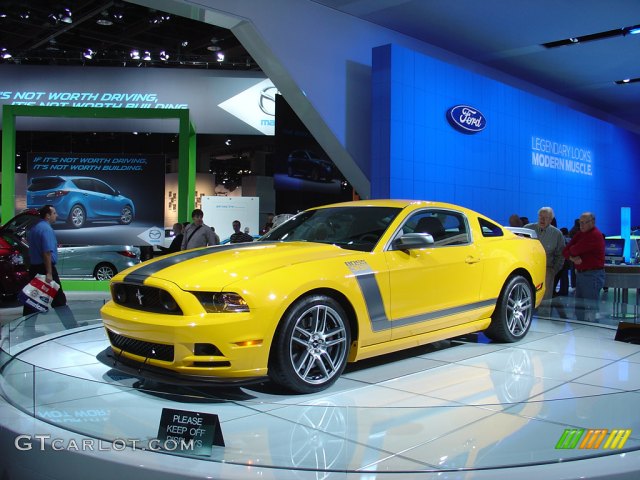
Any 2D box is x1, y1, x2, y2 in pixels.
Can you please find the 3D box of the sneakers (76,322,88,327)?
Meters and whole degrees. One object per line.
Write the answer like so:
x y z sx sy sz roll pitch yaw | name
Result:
-2.967 1.062 5.382 0.050 0.069 0.147 0 -3 5 | sneakers

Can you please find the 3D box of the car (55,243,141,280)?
-6.189 0.563 12.054 2.476 0.764 1.099 2 -2 -6 | car

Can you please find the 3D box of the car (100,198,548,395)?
0.355 0.501 4.336 4.173 1.159 1.882 2 -2 -40 | car
